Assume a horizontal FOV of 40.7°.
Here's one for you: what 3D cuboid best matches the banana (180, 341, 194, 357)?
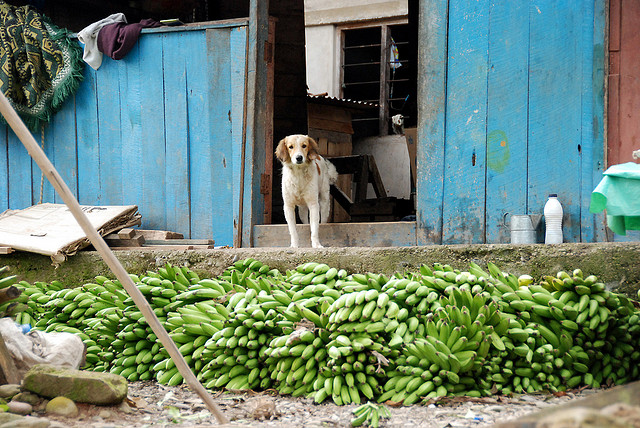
[{"bbox_3d":[-1.311,1.310,8.445,0.058,0.209,0.068,20,14,-11],"label":"banana"}]

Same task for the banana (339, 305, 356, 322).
[{"bbox_3d":[0.241,0.926,8.105,0.060,0.221,0.072,44,-19,0],"label":"banana"}]

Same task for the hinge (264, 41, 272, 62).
[{"bbox_3d":[-0.656,-2.027,10.790,0.050,0.184,0.198,6,4,17],"label":"hinge"}]

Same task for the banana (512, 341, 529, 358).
[{"bbox_3d":[1.869,1.243,8.032,0.148,0.137,0.083,-2,2,11],"label":"banana"}]

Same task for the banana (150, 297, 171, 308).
[{"bbox_3d":[-1.622,0.883,8.737,0.226,0.073,0.082,5,1,-7],"label":"banana"}]

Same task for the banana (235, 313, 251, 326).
[{"bbox_3d":[-0.764,0.999,8.281,0.152,0.082,0.047,33,9,6],"label":"banana"}]

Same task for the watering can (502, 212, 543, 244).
[{"bbox_3d":[2.224,0.179,9.496,0.444,0.383,0.319,0,0,30],"label":"watering can"}]

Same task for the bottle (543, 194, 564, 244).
[{"bbox_3d":[2.551,0.035,9.387,0.209,0.515,0.208,-3,2,0],"label":"bottle"}]

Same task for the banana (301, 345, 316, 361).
[{"bbox_3d":[-0.110,1.302,8.155,0.134,0.144,0.081,-3,2,-2],"label":"banana"}]
